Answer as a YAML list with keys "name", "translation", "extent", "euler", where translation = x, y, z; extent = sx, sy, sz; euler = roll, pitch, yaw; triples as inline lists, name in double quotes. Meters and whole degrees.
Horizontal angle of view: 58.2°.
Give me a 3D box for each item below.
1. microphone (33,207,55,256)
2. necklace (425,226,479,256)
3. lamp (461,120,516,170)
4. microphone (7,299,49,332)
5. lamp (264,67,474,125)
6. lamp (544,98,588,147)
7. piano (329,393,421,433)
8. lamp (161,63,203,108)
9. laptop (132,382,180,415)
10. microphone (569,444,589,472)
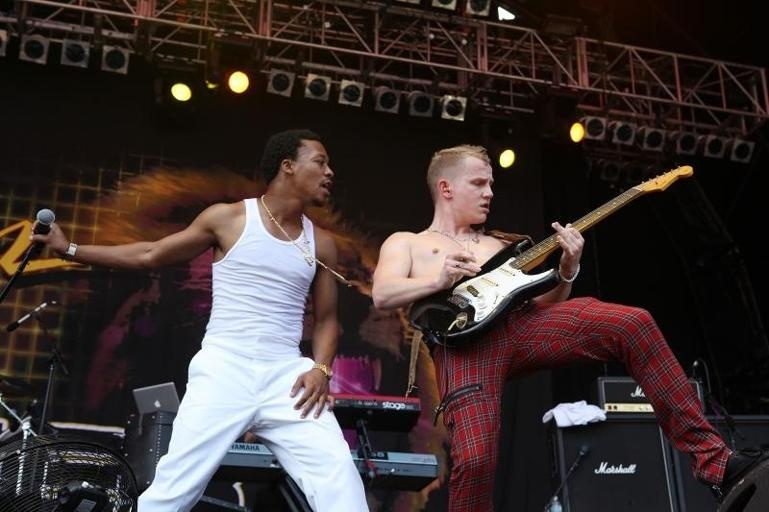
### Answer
- name: "microphone"
  translation: [-2.360, -0.157, 4.787]
  extent: [0.109, 0.226, 0.324]
  euler: [7, 3, -27]
- name: "necklace"
  translation: [0.494, -0.109, 5.139]
  extent: [0.334, 0.183, 0.048]
  euler: [25, -28, -8]
- name: "lamp"
  translation: [1.523, -1.675, 9.746]
  extent: [0.403, 0.561, 0.799]
  euler: [34, 21, -25]
- name: "microphone"
  translation: [-4.132, 0.741, 7.980]
  extent: [0.156, 0.389, 0.104]
  euler: [30, 32, -30]
- name: "lamp"
  translation: [-0.206, -2.151, 9.284]
  extent: [2.630, 0.460, 0.312]
  euler: [8, -2, -4]
- name: "lamp"
  translation: [2.477, -1.914, 9.578]
  extent: [0.575, 0.618, 0.411]
  euler: [7, 2, -22]
- name: "piano"
  translation: [-0.093, 1.342, 5.702]
  extent: [0.855, 0.184, 0.598]
  euler: [-1, -15, -1]
- name: "lamp"
  translation: [-2.578, -2.204, 8.824]
  extent: [0.602, 0.410, 0.295]
  euler: [8, 2, -17]
- name: "laptop"
  translation: [-2.220, 1.501, 6.697]
  extent: [0.453, 0.330, 0.343]
  euler: [-1, -25, -27]
- name: "microphone"
  translation: [1.641, 1.750, 5.832]
  extent: [0.090, 0.323, 0.086]
  euler: [38, -34, 5]
